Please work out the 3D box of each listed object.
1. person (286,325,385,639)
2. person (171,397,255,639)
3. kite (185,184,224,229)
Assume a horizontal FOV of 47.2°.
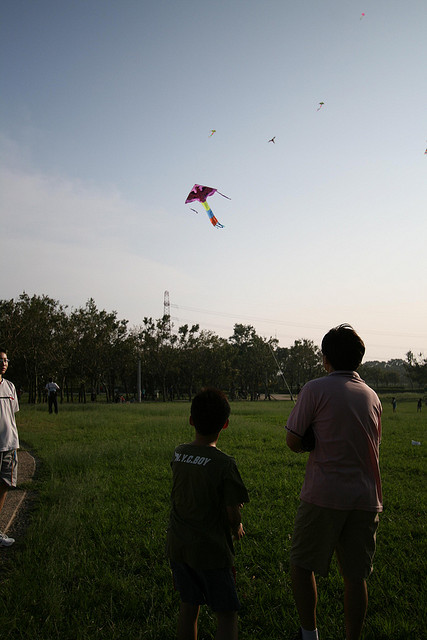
[{"bbox_3d":[0.759,0.963,3.013,0.600,1.879,0.412,0,-3,2],"label":"person"},{"bbox_3d":[-0.024,1.160,2.825,0.439,1.396,0.365,0,-3,-5],"label":"person"},{"bbox_3d":[-0.092,-1.818,7.782,0.562,0.086,0.968,-11,-38,23],"label":"kite"}]
